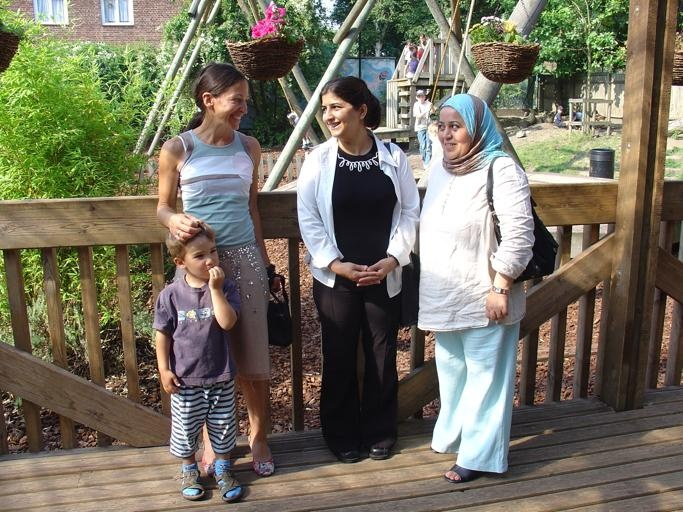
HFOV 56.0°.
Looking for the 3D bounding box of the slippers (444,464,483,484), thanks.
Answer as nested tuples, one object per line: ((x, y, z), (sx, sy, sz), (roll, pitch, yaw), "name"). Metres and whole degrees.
((0.624, 1.123, 3.329), (0.170, 0.043, 0.077), (2, 5, -20), "slippers")

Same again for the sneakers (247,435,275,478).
((-0.425, 1.036, 3.363), (0.089, 0.107, 0.261), (-5, 1, -17), "sneakers")

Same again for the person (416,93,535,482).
((0.700, 0.148, 3.379), (0.594, 1.958, 0.537), (-5, 12, 0), "person")

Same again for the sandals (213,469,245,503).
((-0.560, 1.144, 3.208), (0.077, 0.078, 0.202), (-8, 7, -24), "sandals")

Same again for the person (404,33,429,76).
((2.070, -5.541, 17.781), (0.656, 1.117, 1.541), (-4, 11, 7), "person")

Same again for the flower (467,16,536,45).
((1.378, -1.986, 5.641), (0.496, 0.319, 0.555), (-2, 12, 12), "flower")

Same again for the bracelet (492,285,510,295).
((0.801, 0.167, 3.243), (0.076, 0.045, 0.037), (-2, 12, 14), "bracelet")

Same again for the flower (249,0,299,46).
((-0.597, -2.081, 5.703), (0.441, 0.316, 0.368), (7, 6, -6), "flower")

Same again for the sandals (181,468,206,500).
((-0.738, 1.138, 3.186), (0.074, 0.082, 0.194), (0, -3, -15), "sandals")

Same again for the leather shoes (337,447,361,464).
((0.041, 1.068, 3.453), (0.129, 0.049, 0.055), (4, 11, 10), "leather shoes")

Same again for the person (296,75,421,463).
((0.124, 0.066, 3.463), (0.653, 2.033, 0.435), (-6, 12, -4), "person")

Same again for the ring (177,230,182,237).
((-0.773, -0.110, 3.060), (0.023, 0.020, 0.023), (0, 8, 0), "ring")

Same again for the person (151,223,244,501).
((-0.707, 0.523, 3.187), (0.449, 1.363, 0.342), (-7, 12, -6), "person")

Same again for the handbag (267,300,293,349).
((-0.337, 0.359, 3.463), (0.125, 0.283, 0.224), (-5, 19, -10), "handbag")

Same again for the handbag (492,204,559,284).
((0.931, -0.073, 3.286), (0.238, 0.419, 0.338), (-17, 14, 7), "handbag")
